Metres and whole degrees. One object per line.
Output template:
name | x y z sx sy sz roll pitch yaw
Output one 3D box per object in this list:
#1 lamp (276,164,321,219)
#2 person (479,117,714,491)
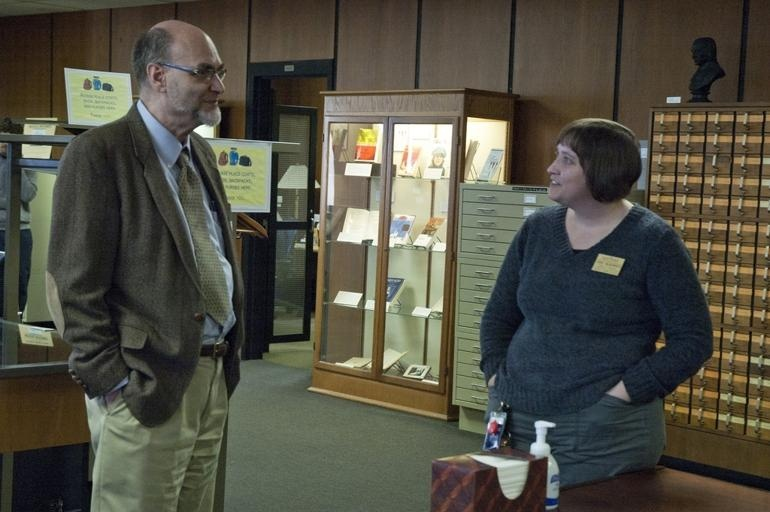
lamp | -1.074 -0.758 7.746 0.554 0.805 0.582 0 5 -3
person | 0.705 0.150 2.240 0.781 1.241 0.318 5 6 28
